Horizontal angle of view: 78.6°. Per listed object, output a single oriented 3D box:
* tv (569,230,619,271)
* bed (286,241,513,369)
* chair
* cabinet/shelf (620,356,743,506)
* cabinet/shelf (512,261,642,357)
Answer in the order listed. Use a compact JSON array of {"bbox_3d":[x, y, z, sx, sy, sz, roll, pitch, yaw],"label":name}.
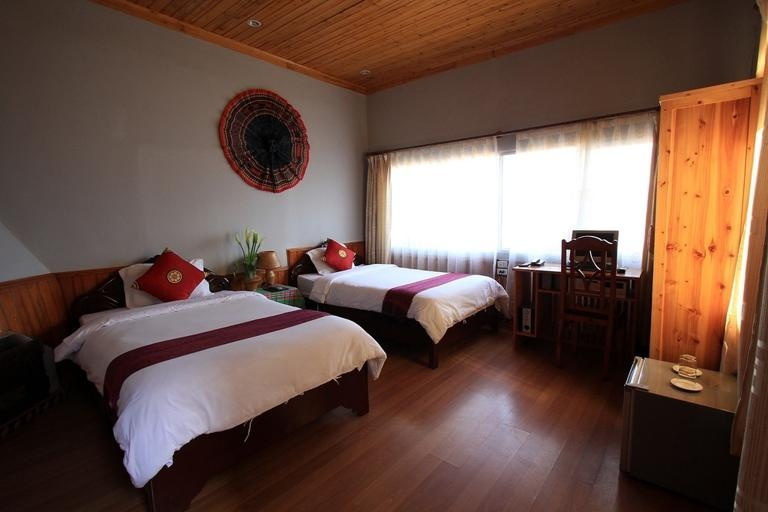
[{"bbox_3d":[2.324,-0.083,5.174,0.377,0.323,0.206,4,9,28],"label":"tv"},{"bbox_3d":[0.070,0.469,5.661,1.914,0.856,1.258,6,12,33],"label":"bed"},{"bbox_3d":[2.205,0.427,5.111,0.614,1.375,0.800,6,15,26],"label":"chair"},{"bbox_3d":[2.413,1.301,3.715,0.667,0.892,0.871,6,-3,-40],"label":"cabinet/shelf"},{"bbox_3d":[2.238,0.415,5.485,1.567,1.360,0.965,0,1,40],"label":"cabinet/shelf"}]
